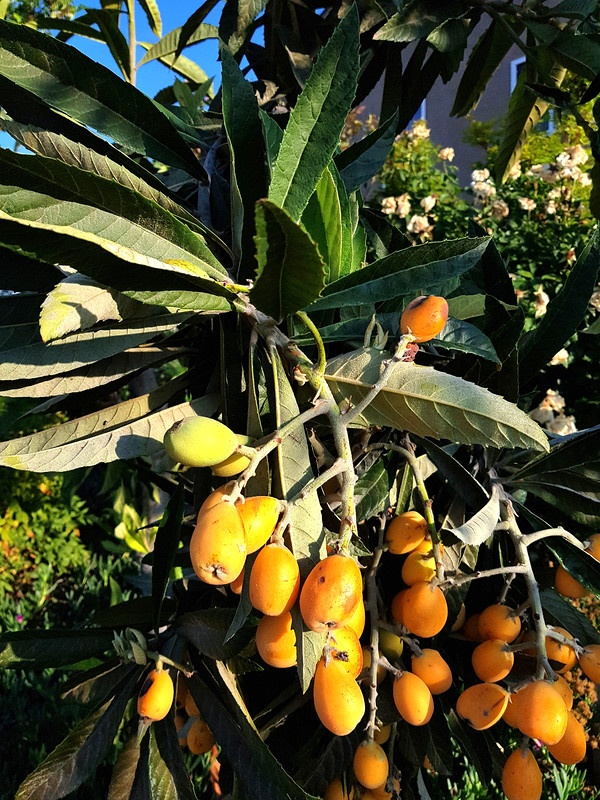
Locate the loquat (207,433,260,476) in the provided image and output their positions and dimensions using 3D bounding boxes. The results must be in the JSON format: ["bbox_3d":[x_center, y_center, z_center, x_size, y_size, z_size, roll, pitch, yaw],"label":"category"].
[{"bbox_3d":[-0.061,0.050,0.642,0.036,0.018,0.043,-33,10,-3],"label":"loquat"}]

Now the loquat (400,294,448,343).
[{"bbox_3d":[0.128,-0.081,0.692,0.040,0.039,0.051,-7,43,16],"label":"loquat"}]

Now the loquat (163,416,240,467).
[{"bbox_3d":[-0.084,0.035,0.603,0.070,0.040,0.047,5,40,7],"label":"loquat"}]
